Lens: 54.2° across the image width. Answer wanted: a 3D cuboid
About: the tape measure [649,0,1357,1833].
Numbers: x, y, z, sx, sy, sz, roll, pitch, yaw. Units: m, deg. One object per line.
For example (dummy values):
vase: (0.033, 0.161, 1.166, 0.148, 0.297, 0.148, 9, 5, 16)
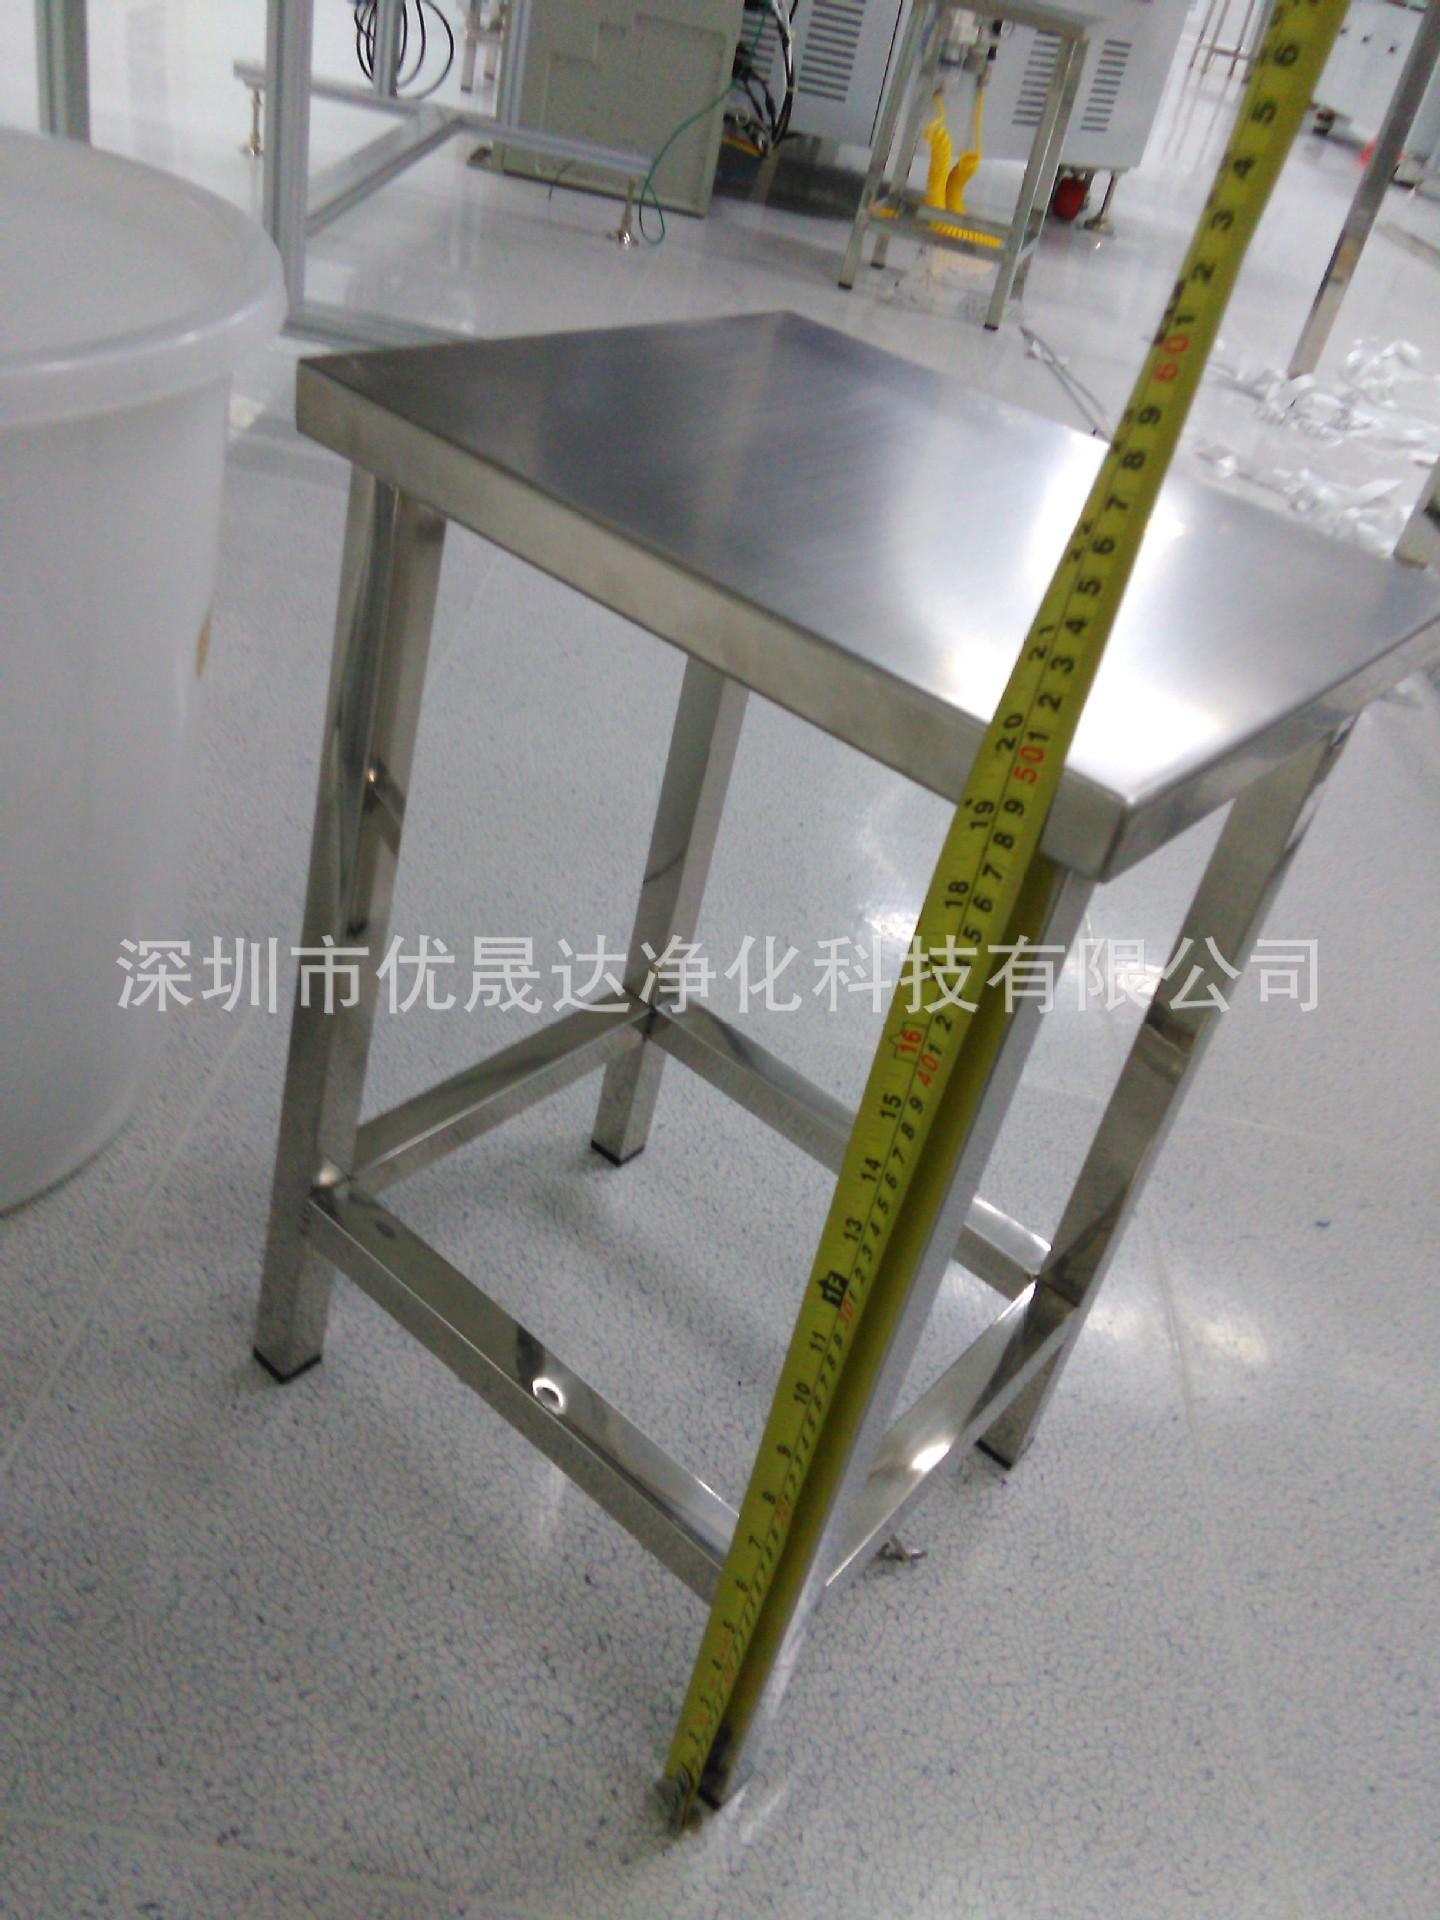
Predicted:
tape measure: (0.052, 0.080, 0.449, 0.035, 0.655, 0.059, 20, 31, 12)
